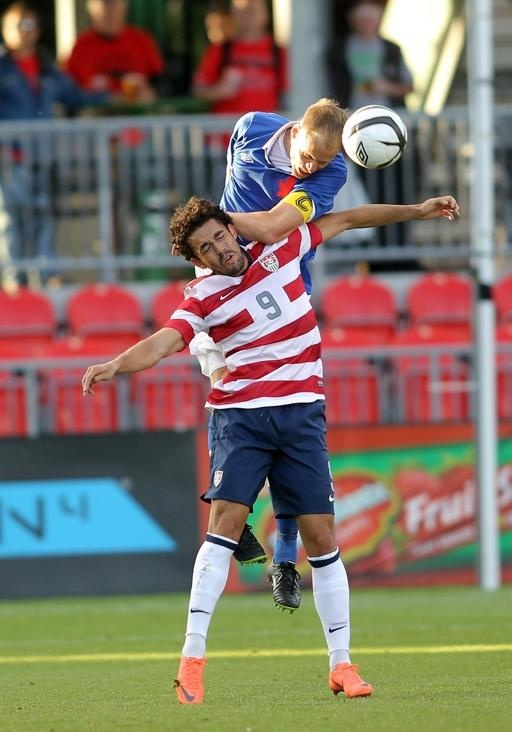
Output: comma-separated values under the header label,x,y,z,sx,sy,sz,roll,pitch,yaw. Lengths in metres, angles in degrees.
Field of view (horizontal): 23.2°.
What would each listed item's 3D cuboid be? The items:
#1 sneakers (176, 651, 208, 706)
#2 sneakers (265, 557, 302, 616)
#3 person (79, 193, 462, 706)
label,x,y,z,sx,sy,sz,roll,pitch,yaw
sneakers,-0.250,1.215,4.794,0.077,0.089,0.207,0,25,-12
sneakers,0.143,0.903,5.233,0.108,0.118,0.264,0,17,-16
person,0.048,0.325,4.987,1.278,1.886,0.735,-3,11,-10
